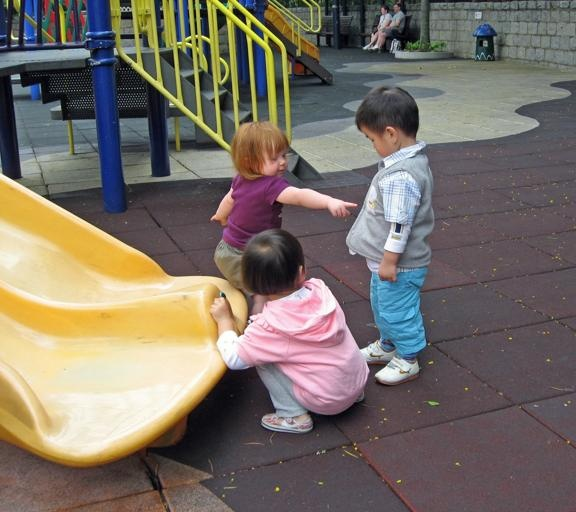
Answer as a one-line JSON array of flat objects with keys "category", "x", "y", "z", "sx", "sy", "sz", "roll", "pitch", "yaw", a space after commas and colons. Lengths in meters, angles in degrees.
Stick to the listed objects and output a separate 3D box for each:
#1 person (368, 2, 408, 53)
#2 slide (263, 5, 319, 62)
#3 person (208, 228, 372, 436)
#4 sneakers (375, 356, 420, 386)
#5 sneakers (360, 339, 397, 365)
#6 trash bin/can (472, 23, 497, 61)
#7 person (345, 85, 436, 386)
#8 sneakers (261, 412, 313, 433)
[{"category": "person", "x": 3.874, "y": -8.623, "z": 20.790, "sx": 0.727, "sy": 1.614, "sz": 1.213, "roll": -19, "pitch": 27, "yaw": -34}, {"category": "slide", "x": 0.093, "y": -5.241, "z": 12.873, "sx": 1.131, "sy": 1.322, "sz": 2.330, "roll": -2, "pitch": 21, "yaw": 2}, {"category": "person", "x": -0.014, "y": 0.270, "z": 2.027, "sx": 0.607, "sy": 0.733, "sz": 0.310, "roll": 0, "pitch": 23, "yaw": 7}, {"category": "sneakers", "x": 0.461, "y": 0.487, "z": 2.315, "sx": 0.203, "sy": 0.083, "sz": 0.086, "roll": -9, "pitch": 21, "yaw": -12}, {"category": "sneakers", "x": 0.398, "y": 0.440, "z": 2.521, "sx": 0.203, "sy": 0.082, "sz": 0.071, "roll": 4, "pitch": 16, "yaw": 6}, {"category": "trash bin/can", "x": 6.069, "y": -6.567, "z": 16.917, "sx": 0.646, "sy": 1.098, "sz": 0.560, "roll": 4, "pitch": 23, "yaw": 17}, {"category": "person", "x": 0.442, "y": -0.060, "z": 2.371, "sx": 0.428, "sy": 1.230, "sz": 0.394, "roll": -2, "pitch": 17, "yaw": 2}, {"category": "sneakers", "x": -0.008, "y": 0.622, "z": 2.033, "sx": 0.190, "sy": 0.068, "sz": 0.071, "roll": 6, "pitch": 9, "yaw": 10}]
